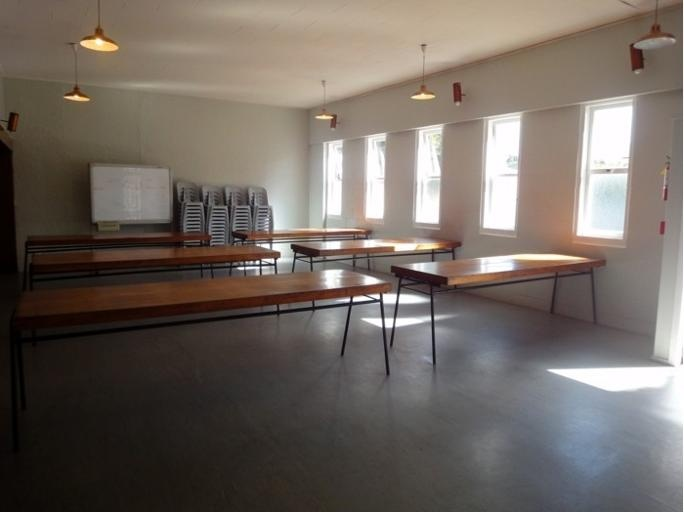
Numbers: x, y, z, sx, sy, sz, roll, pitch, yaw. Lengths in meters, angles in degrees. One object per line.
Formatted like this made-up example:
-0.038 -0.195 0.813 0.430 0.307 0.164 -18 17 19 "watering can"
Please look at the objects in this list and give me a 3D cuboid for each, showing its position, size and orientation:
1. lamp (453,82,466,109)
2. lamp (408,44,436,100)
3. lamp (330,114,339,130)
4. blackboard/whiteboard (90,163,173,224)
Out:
1.890 -2.669 7.687 0.224 0.367 0.225 12 19 37 "lamp"
1.227 -2.803 7.110 0.419 0.756 0.435 17 33 37 "lamp"
-0.173 -3.024 10.464 0.166 0.305 0.389 0 15 -2 "lamp"
-4.430 -1.325 9.669 1.274 1.086 0.137 -1 4 -29 "blackboard/whiteboard"
